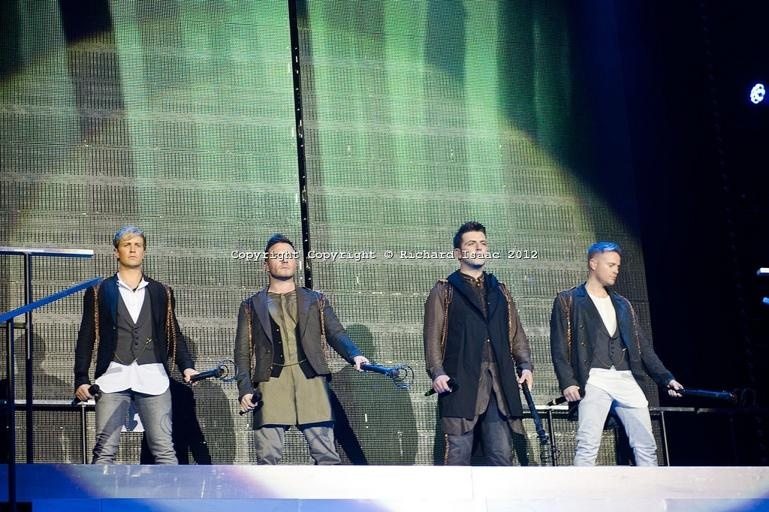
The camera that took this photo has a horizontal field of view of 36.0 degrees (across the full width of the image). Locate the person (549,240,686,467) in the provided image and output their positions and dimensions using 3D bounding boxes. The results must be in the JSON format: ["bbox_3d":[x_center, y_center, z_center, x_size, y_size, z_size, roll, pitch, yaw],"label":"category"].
[{"bbox_3d":[1.728,0.733,9.133,0.885,1.744,0.406,-1,-9,-12],"label":"person"}]

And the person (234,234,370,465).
[{"bbox_3d":[-0.664,0.674,8.813,0.884,1.740,0.391,-1,-9,-7],"label":"person"}]

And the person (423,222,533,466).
[{"bbox_3d":[0.699,0.624,8.805,0.782,1.849,0.487,-2,-9,-3],"label":"person"}]

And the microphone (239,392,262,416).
[{"bbox_3d":[-1.021,1.110,8.687,0.267,0.085,0.086,-43,-18,32],"label":"microphone"}]

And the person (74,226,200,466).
[{"bbox_3d":[-1.840,0.639,8.741,0.846,1.777,0.382,0,-9,-14],"label":"person"}]

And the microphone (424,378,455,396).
[{"bbox_3d":[0.411,0.959,8.704,0.268,0.107,0.146,-8,-10,35],"label":"microphone"}]
